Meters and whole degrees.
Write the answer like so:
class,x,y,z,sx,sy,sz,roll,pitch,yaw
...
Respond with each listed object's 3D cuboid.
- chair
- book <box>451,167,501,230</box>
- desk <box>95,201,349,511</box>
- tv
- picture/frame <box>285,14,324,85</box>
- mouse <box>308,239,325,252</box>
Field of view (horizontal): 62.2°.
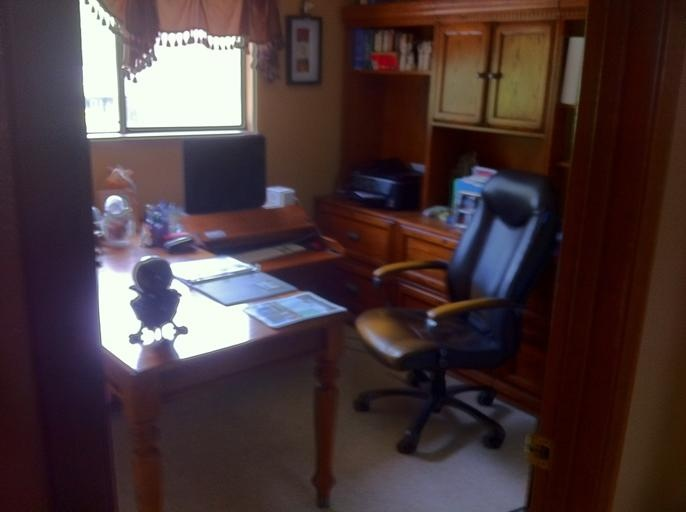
class,x,y,z,sx,sy,sz,roll,pitch,yaw
chair,0.500,0.146,3.760,1.331,2.056,1.311,-4,12,-22
book,0.814,-0.345,3.503,0.256,0.474,0.250,18,35,25
desk,-0.523,0.638,2.559,0.951,0.971,0.907,-9,20,-24
tv,-0.815,-0.555,3.787,0.488,0.443,0.158,-6,11,-41
picture/frame,-0.302,-1.550,4.208,0.422,0.612,0.057,-14,21,-42
mouse,-0.180,-0.073,3.875,0.066,0.039,0.091,10,-1,-26
